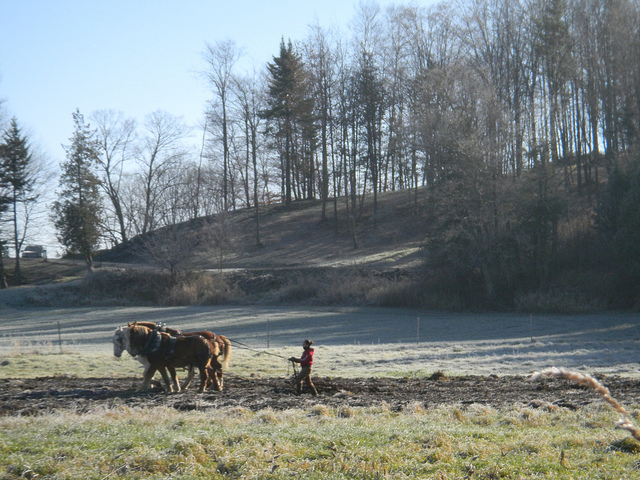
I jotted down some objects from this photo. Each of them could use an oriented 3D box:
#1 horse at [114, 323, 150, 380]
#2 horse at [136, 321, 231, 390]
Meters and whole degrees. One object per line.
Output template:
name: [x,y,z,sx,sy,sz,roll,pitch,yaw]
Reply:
horse: [-12.025,6.751,75.280,1.667,3.269,1.478,1,3,38]
horse: [-9.100,7.787,76.408,6.919,4.995,1.880,-2,15,3]
